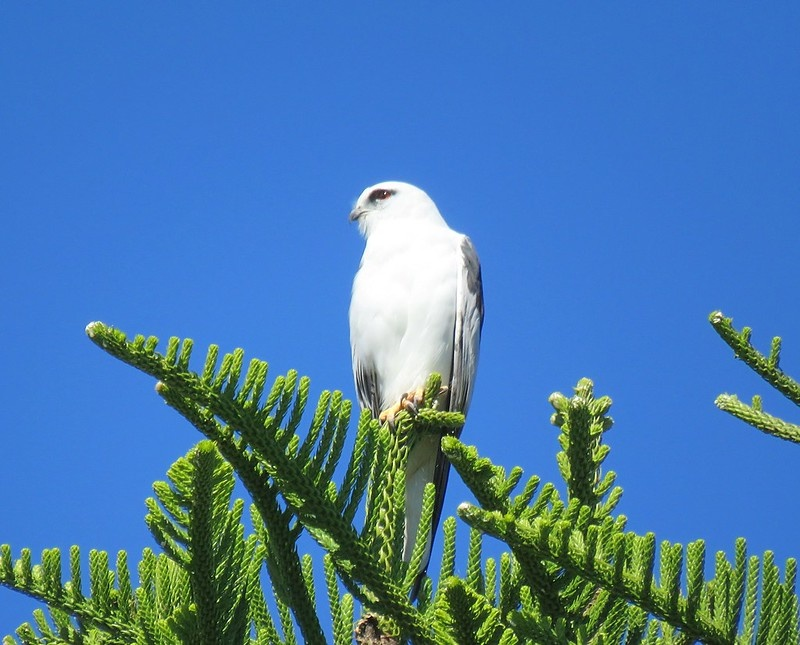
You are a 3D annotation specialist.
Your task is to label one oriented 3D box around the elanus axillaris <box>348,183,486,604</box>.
[{"bbox_3d":[0.050,0.253,5.962,0.485,1.621,0.555,13,-36,-14],"label":"elanus axillaris"}]
